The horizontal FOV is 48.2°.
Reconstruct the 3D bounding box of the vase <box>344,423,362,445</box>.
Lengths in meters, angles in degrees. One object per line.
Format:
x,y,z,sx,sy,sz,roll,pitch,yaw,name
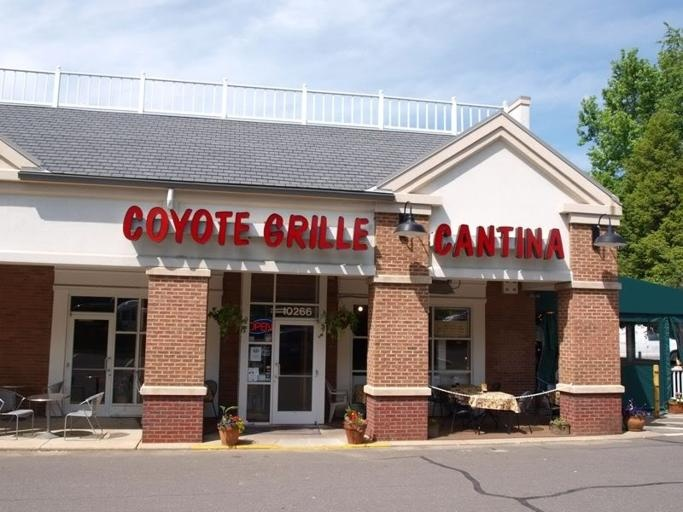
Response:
0.290,4.471,19.068,0.445,0.355,0.460,-4,-10,26,vase

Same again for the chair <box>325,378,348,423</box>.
-0.176,4.276,22.062,0.944,1.346,0.878,-1,-3,7,chair

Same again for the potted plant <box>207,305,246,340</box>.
-3.231,1.882,21.551,0.966,1.037,1.506,1,1,-19,potted plant

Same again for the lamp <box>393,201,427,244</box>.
1.757,-0.918,19.117,0.799,0.846,0.876,-13,0,6,lamp

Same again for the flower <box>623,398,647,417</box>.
8.658,4.478,22.389,0.721,0.451,0.718,-2,-7,12,flower

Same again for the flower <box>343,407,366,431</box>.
0.364,4.144,19.224,0.451,0.556,0.471,4,-6,-23,flower

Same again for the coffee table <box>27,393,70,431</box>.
-7.983,4.231,20.632,0.971,0.983,1.002,-1,-4,23,coffee table

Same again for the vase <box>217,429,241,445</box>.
-2.715,4.403,18.669,0.398,0.342,0.450,3,-9,-15,vase

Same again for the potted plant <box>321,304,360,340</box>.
-0.060,1.869,21.665,0.907,0.681,0.917,-1,1,21,potted plant

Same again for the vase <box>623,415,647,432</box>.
8.118,4.621,21.023,0.434,0.318,0.452,4,-8,-31,vase

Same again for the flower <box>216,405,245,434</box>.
-2.847,4.236,19.664,0.752,0.898,0.874,1,1,-6,flower

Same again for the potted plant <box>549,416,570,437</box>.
5.875,4.592,20.440,0.459,0.278,0.824,1,-2,2,potted plant

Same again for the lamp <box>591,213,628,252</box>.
7.018,-0.668,19.845,0.721,0.775,0.703,-1,3,1,lamp
